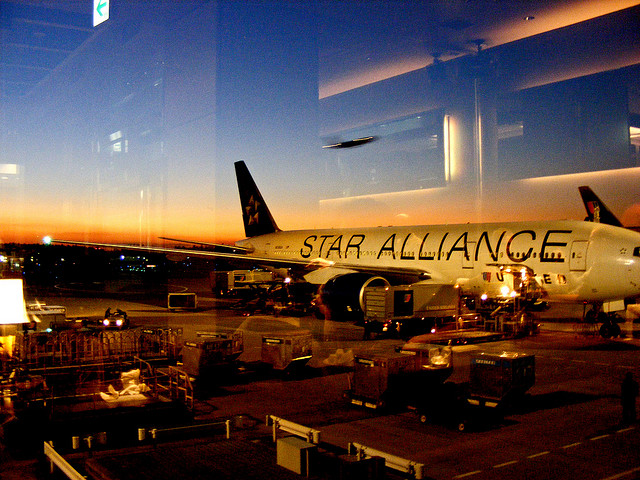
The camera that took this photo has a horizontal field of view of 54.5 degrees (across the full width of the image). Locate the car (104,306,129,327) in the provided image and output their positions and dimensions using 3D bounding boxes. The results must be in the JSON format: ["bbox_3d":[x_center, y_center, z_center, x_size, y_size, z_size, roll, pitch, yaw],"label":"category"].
[{"bbox_3d":[-11.066,4.178,33.623,1.117,0.772,1.704,0,-3,-18],"label":"car"}]
